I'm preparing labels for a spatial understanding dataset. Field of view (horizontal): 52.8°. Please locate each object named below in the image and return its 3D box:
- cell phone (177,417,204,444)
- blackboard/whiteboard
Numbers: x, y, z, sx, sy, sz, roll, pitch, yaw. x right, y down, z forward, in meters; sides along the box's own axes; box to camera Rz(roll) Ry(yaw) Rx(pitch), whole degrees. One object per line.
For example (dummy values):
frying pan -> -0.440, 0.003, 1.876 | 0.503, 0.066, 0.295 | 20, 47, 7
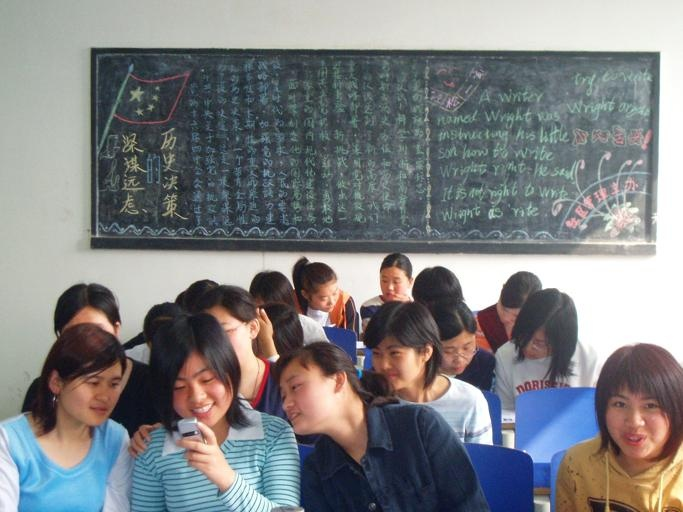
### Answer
cell phone -> -0.519, 0.594, 2.370 | 0.074, 0.073, 0.143 | -10, -32, -5
blackboard/whiteboard -> 0.204, -0.639, 4.248 | 3.460, 1.232, 0.062 | 0, 2, 0
